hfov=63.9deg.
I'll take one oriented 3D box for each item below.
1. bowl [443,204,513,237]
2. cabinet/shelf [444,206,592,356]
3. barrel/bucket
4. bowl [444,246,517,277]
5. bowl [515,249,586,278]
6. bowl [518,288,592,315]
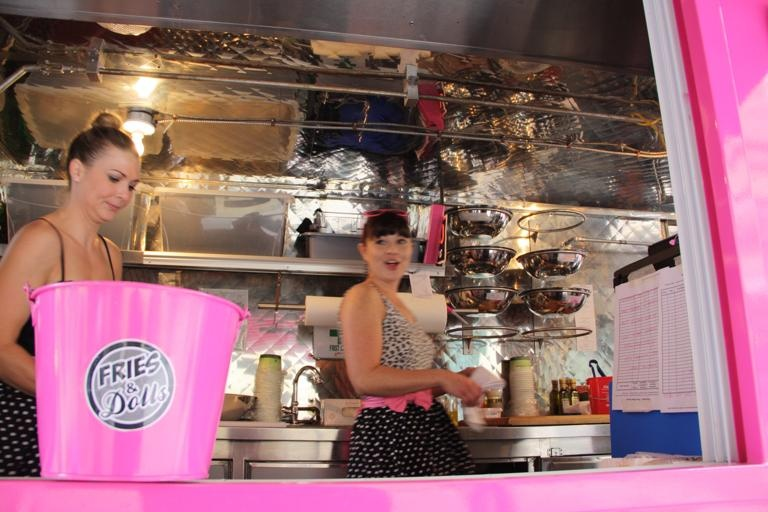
[{"bbox_3d":[0.539,-0.210,3.607,0.294,0.075,0.251,-2,-10,13],"label":"bowl"},{"bbox_3d":[0.891,0.183,4.038,1.332,0.905,0.612,-2,-12,-7],"label":"cabinet/shelf"},{"bbox_3d":[-0.331,0.229,1.166,0.481,0.296,0.466,2,-14,0],"label":"barrel/bucket"},{"bbox_3d":[0.537,0.019,3.553,0.333,0.078,0.302,5,19,26],"label":"bowl"},{"bbox_3d":[0.989,0.041,3.676,0.273,0.073,0.247,-7,-16,26],"label":"bowl"},{"bbox_3d":[0.991,0.257,3.618,0.370,0.196,0.174,8,11,12],"label":"bowl"}]
